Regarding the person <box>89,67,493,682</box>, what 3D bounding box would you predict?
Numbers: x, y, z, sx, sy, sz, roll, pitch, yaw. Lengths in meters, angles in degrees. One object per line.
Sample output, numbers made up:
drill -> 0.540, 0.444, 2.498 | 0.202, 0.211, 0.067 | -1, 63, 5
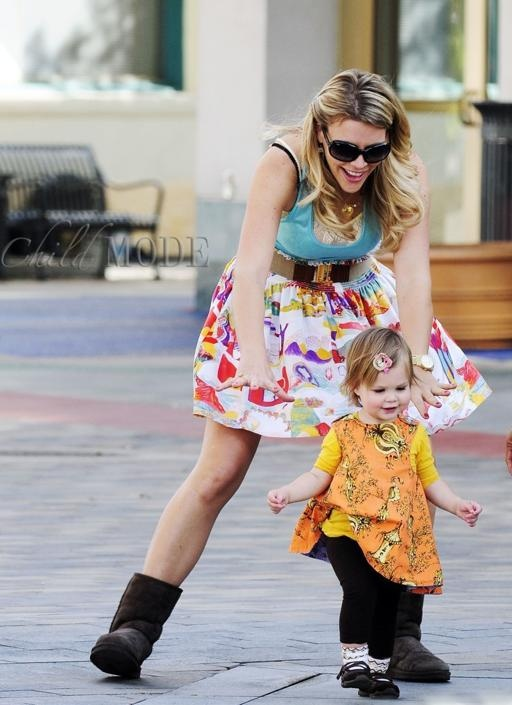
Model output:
person -> 0.120, 0.054, 2.724 | 1.086, 1.278, 0.788 | -4, 5, -17

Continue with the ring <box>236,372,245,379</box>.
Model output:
ring -> -0.031, 0.046, 2.460 | 0.013, 0.005, 0.013 | 0, 8, 0

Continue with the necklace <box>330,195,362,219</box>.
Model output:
necklace -> 0.202, -0.321, 2.721 | 0.069, 0.055, 0.015 | -10, -5, -30

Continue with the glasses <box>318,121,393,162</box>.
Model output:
glasses -> 0.202, -0.429, 2.550 | 0.143, 0.078, 0.086 | 0, 14, 7

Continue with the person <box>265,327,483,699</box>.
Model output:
person -> 0.232, 0.344, 2.531 | 0.423, 0.752, 0.353 | -3, 16, -4

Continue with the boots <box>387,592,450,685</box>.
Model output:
boots -> 0.355, 0.626, 2.709 | 0.108, 0.193, 0.226 | 8, -8, -22

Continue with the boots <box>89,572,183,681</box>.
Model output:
boots -> -0.266, 0.594, 2.636 | 0.138, 0.189, 0.238 | 2, 14, 14
